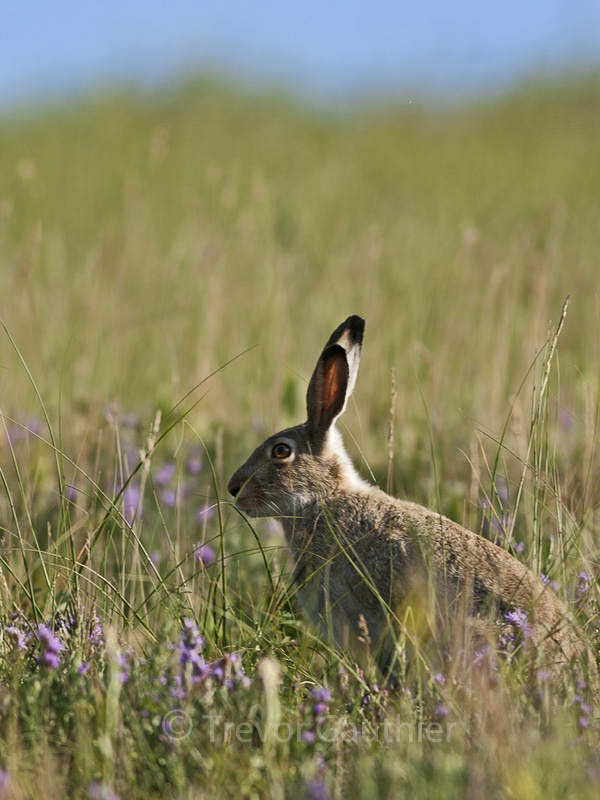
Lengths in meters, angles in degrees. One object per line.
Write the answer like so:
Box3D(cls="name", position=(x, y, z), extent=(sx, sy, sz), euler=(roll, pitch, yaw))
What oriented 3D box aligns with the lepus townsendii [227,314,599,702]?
Box3D(cls="lepus townsendii", position=(0.268, 0.341, 3.568), extent=(0.691, 0.846, 1.324), euler=(-19, 27, -30))
